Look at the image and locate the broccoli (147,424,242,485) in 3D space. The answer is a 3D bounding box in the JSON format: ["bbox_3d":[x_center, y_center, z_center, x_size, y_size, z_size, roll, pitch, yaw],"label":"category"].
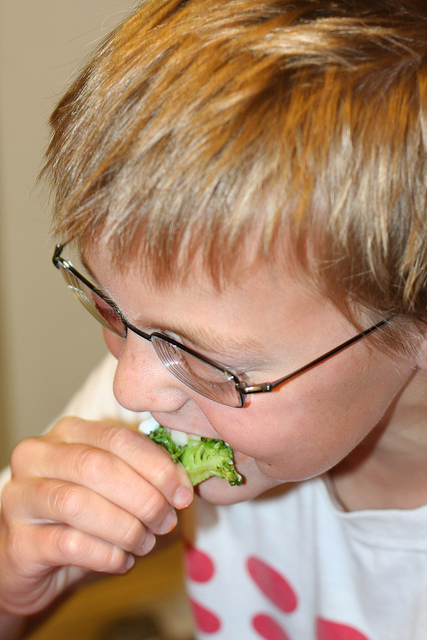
[{"bbox_3d":[-0.012,0.165,0.746,0.040,0.088,0.089,-56,21,-22],"label":"broccoli"}]
